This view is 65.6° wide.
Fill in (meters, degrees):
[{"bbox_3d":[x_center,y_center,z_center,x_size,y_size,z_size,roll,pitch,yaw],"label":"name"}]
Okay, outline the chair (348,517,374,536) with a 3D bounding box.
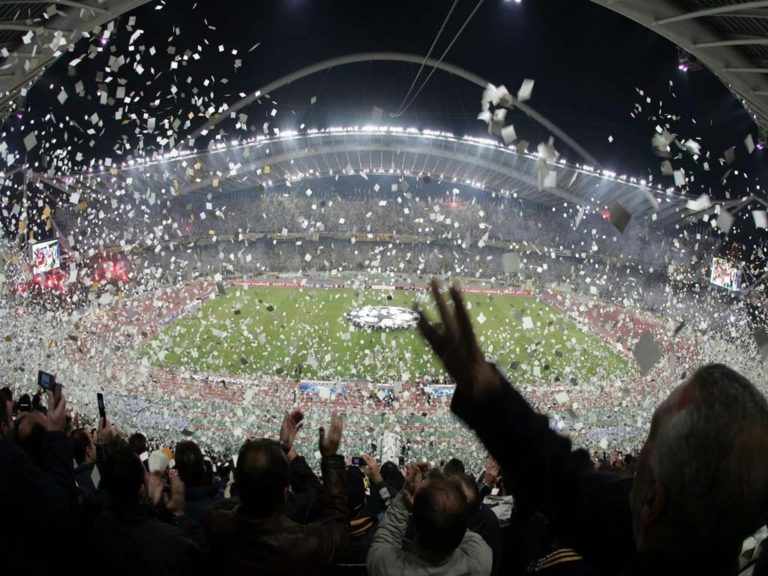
[{"bbox_3d":[-0.343,3.522,8.785,0.229,0.142,0.269,6,-15,-31],"label":"chair"}]
